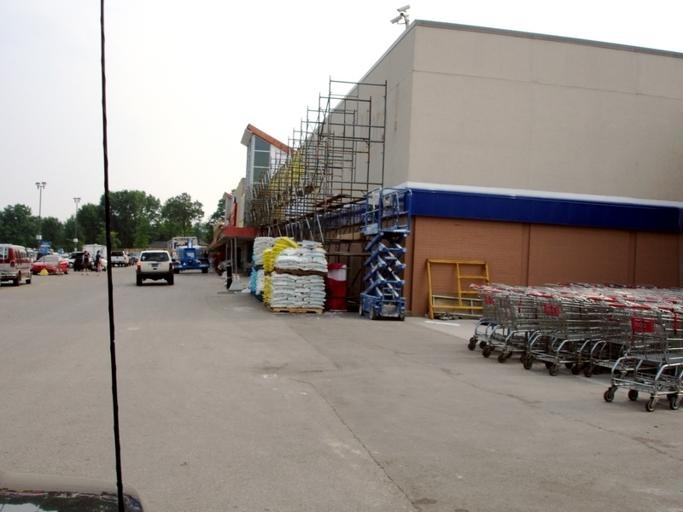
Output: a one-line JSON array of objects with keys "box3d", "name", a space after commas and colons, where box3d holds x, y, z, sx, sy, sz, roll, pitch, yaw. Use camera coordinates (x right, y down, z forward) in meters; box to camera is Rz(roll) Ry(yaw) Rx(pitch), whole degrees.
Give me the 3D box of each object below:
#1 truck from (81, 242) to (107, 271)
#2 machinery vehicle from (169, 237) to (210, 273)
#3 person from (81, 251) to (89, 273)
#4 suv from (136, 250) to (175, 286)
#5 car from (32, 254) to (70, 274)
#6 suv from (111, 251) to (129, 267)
[{"box3d": [-23.558, 0.116, 58.231, 2.849, 3.439, 4.967, 1, 4, -24], "name": "truck"}, {"box3d": [-16.326, 1.020, 64.678, 2.633, 4.281, 8.260, 1, -17, -20], "name": "machinery vehicle"}, {"box3d": [-21.318, 0.550, 51.045, 0.386, 1.730, 2.620, 2, 0, -26], "name": "person"}, {"box3d": [-11.014, 0.577, 36.418, 1.350, 1.465, 2.565, 0, 8, -12], "name": "suv"}, {"box3d": [-23.483, 0.742, 49.502, 2.132, 1.617, 3.150, 3, 0, -17], "name": "car"}, {"box3d": [-22.102, 0.351, 61.095, 1.446, 1.567, 3.661, 0, 3, -8], "name": "suv"}]
